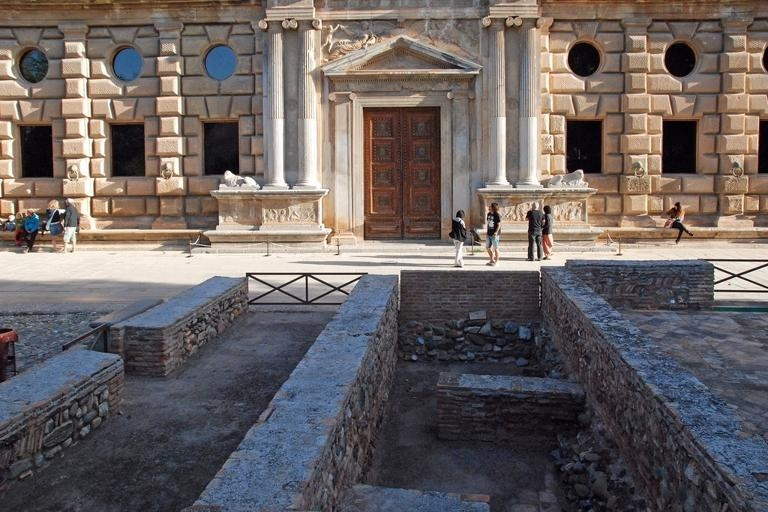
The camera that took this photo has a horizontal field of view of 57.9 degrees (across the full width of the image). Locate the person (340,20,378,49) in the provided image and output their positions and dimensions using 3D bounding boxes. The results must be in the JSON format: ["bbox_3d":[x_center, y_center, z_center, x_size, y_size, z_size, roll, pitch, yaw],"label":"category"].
[{"bbox_3d":[-0.811,-7.580,23.747,0.905,0.917,0.328,-8,-7,5],"label":"person"}]

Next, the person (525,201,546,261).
[{"bbox_3d":[4.438,-0.633,20.344,0.473,1.463,0.716,0,9,13],"label":"person"}]

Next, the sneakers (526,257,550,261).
[{"bbox_3d":[4.515,0.092,20.293,0.684,0.104,0.051,0,-3,-3],"label":"sneakers"}]

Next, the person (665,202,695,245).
[{"bbox_3d":[10.313,-1.182,24.370,0.874,1.358,0.683,-8,10,-33],"label":"person"}]

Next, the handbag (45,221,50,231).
[{"bbox_3d":[-11.434,-0.987,23.723,0.108,0.282,0.643,-6,10,-27],"label":"handbag"}]

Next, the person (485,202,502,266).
[{"bbox_3d":[3.054,-0.623,19.554,0.359,1.701,1.195,-1,9,9],"label":"person"}]
